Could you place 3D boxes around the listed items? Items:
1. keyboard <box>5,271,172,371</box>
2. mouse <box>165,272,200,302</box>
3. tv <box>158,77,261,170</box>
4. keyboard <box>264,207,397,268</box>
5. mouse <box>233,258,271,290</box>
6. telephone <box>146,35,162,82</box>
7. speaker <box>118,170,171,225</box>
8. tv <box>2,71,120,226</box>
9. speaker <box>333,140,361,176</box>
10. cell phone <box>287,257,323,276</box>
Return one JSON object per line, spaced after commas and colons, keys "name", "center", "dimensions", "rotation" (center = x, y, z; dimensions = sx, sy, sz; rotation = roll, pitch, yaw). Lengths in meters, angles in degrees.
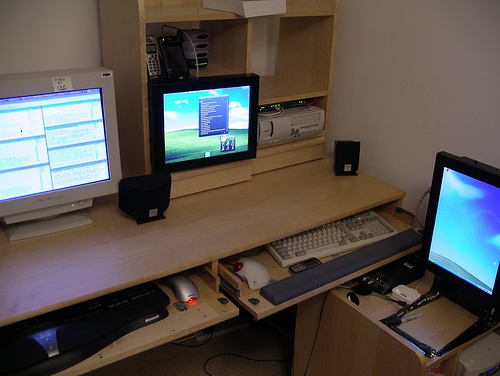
{"name": "keyboard", "center": [-0.591, 0.323, 1.257], "dimensions": [0.388, 0.089, 0.298], "rotation": [-21, 35, -32]}
{"name": "mouse", "center": [-0.258, 0.373, 1.519], "dimensions": [0.096, 0.049, 0.163], "rotation": [-5, 21, -35]}
{"name": "tv", "center": [-0.203, -0.306, 1.822], "dimensions": [0.432, 0.335, 0.035], "rotation": [-15, 33, -26]}
{"name": "keyboard", "center": [0.388, 0.235, 1.853], "dimensions": [0.633, 0.057, 0.207], "rotation": [-14, 29, -25]}
{"name": "mouse", "center": [-0.009, 0.356, 1.649], "dimensions": [0.138, 0.070, 0.240], "rotation": [-10, 10, -38]}
{"name": "telephone", "center": [-0.426, -0.573, 1.768], "dimensions": [0.059, 0.181, 0.155], "rotation": [-7, 26, -12]}
{"name": "speaker", "center": [-0.433, 0.093, 1.708], "dimensions": [0.223, 0.126, 0.200], "rotation": [-2, 52, -20]}
{"name": "tv", "center": [-0.742, -0.162, 1.533], "dimensions": [0.540, 0.581, 0.203], "rotation": [-10, 27, -31]}
{"name": "speaker", "center": [0.569, -0.163, 2.195], "dimensions": [0.173, 0.195, 0.185], "rotation": [12, 4, 32]}
{"name": "cell phone", "center": [0.235, 0.327, 1.695], "dimensions": [0.128, 0.030, 0.057], "rotation": [-18, 39, -29]}
